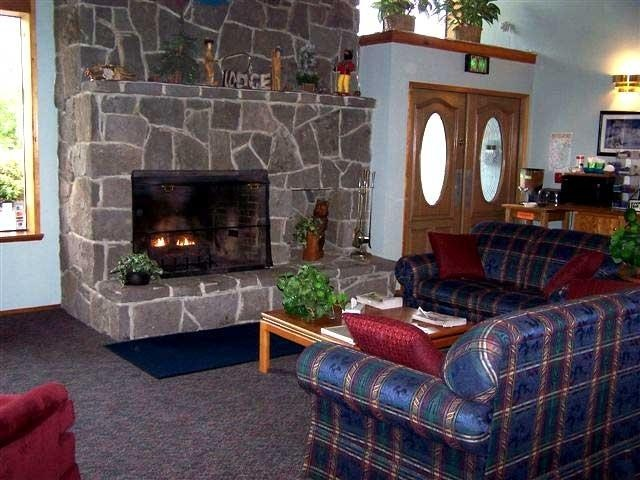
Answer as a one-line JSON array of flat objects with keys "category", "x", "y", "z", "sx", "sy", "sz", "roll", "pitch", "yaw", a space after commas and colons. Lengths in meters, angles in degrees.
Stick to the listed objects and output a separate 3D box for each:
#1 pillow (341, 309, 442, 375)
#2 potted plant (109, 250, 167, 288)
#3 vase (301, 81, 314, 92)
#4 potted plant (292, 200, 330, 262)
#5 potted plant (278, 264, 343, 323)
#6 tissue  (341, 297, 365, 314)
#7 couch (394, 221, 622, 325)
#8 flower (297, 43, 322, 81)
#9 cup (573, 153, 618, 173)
[{"category": "pillow", "x": 0.419, "y": 0.532, "z": 2.382, "sx": 0.624, "sy": 0.178, "sz": 0.616, "roll": 14, "pitch": -10, "yaw": 0}, {"category": "potted plant", "x": -1.755, "y": 0.264, "z": 4.519, "sx": 0.433, "sy": 0.299, "sz": 0.513, "roll": -1, "pitch": 3, "yaw": 17}, {"category": "vase", "x": -0.152, "y": -1.750, "z": 5.461, "sx": 0.162, "sy": 0.160, "sz": 0.093, "roll": -3, "pitch": 20, "yaw": -17}, {"category": "potted plant", "x": -0.112, "y": -0.106, "z": 5.549, "sx": 0.391, "sy": 0.716, "sz": 0.241, "roll": 0, "pitch": 10, "yaw": -5}, {"category": "potted plant", "x": -0.135, "y": 0.376, "z": 3.596, "sx": 0.499, "sy": 0.359, "sz": 0.568, "roll": -11, "pitch": 11, "yaw": -44}, {"category": "tissue ", "x": 0.254, "y": 0.521, "z": 3.655, "sx": 0.168, "sy": 0.166, "sz": 0.161, "roll": 4, "pitch": 13, "yaw": 19}, {"category": "couch", "x": 1.796, "y": 0.420, "z": 4.406, "sx": 1.021, "sy": 0.984, "sz": 1.763, "roll": -10, "pitch": 11, "yaw": -24}, {"category": "flower", "x": -0.147, "y": -2.070, "z": 5.557, "sx": 0.298, "sy": 0.469, "sz": 0.197, "roll": -1, "pitch": -3, "yaw": 2}, {"category": "cup", "x": 3.665, "y": -1.029, "z": 6.336, "sx": 0.539, "sy": 0.232, "sz": 0.400, "roll": 9, "pitch": 13, "yaw": 40}]
